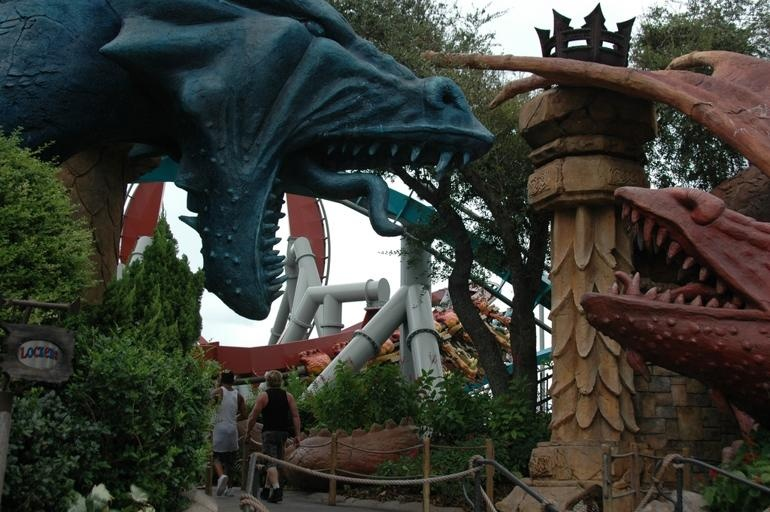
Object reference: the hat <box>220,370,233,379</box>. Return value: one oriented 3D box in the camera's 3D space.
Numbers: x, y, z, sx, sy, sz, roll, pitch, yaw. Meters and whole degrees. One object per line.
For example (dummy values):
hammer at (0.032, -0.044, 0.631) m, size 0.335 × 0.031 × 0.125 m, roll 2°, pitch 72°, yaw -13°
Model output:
hat at (-1.840, 1.384, 9.793) m, size 0.121 × 0.078 × 0.107 m, roll -7°, pitch -5°, yaw 32°

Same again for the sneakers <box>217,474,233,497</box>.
sneakers at (-1.839, 2.635, 9.704) m, size 0.169 × 0.162 × 0.373 m, roll 1°, pitch -54°, yaw -25°
